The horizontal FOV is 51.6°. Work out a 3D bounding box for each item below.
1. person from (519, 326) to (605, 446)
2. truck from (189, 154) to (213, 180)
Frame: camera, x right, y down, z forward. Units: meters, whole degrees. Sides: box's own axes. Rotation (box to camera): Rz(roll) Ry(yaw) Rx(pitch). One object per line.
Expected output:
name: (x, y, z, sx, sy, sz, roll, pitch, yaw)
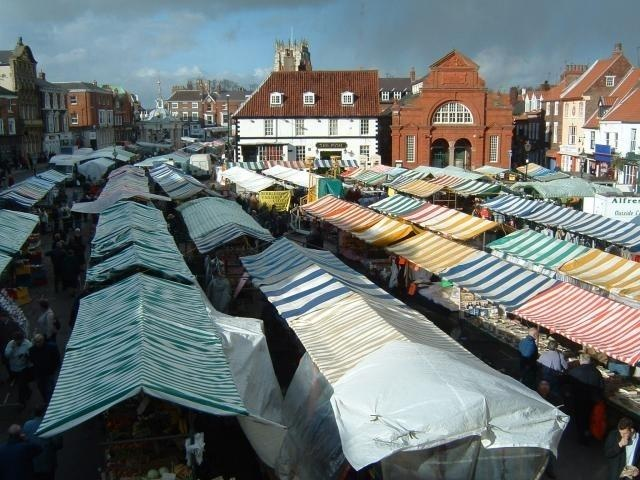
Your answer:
person: (4.810, 2.912, 13.129, 0.843, 1.511, 1.730, -3, 13, -10)
truck: (-9.989, -6.227, 55.167, 2.326, 2.438, 1.734, -7, 8, -41)
